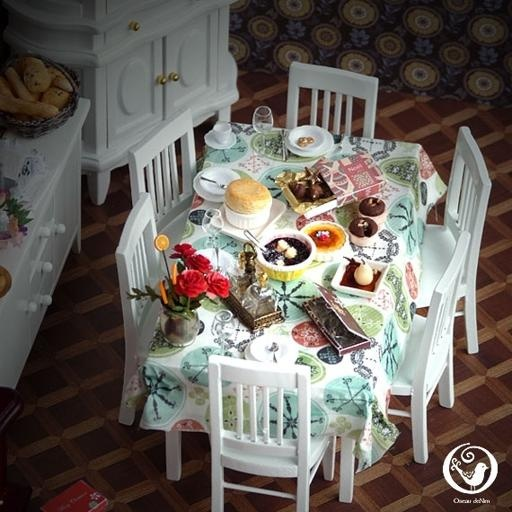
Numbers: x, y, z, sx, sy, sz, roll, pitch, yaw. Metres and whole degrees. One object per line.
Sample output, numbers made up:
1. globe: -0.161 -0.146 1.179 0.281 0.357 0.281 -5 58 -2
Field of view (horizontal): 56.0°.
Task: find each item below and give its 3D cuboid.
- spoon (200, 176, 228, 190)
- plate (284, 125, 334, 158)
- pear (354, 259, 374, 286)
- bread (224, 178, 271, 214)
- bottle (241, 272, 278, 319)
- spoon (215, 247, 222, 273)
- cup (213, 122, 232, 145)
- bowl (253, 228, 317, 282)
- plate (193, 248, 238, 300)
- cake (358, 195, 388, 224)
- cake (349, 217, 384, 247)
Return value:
1. spoon: -0.181 -0.313 2.071 0.170 0.022 0.027 22 52 15
2. plate: 0.250 -0.552 2.302 0.207 0.045 0.198 -34 54 -28
3. pear: 0.376 0.049 1.668 0.066 0.085 0.099 4 25 13
4. bread: -0.027 -0.234 1.879 0.160 0.105 0.153 16 29 35
5. bottle: 0.006 0.127 1.520 0.109 0.137 0.096 -13 53 -14
6. spoon: -0.129 0.011 1.698 0.022 0.084 0.015 0 20 6
7. cup: -0.153 -0.584 2.317 0.105 0.080 0.099 0 46 0
8. bowl: 0.122 -0.010 1.745 0.209 0.145 0.269 10 26 26
9. plate: -0.121 0.060 1.468 0.150 0.053 0.133 3 49 -7
10. cake: 0.459 -0.182 1.942 0.114 0.089 0.100 -15 55 -2
11. cake: 0.405 -0.092 1.770 0.123 0.080 0.104 -8 72 1
